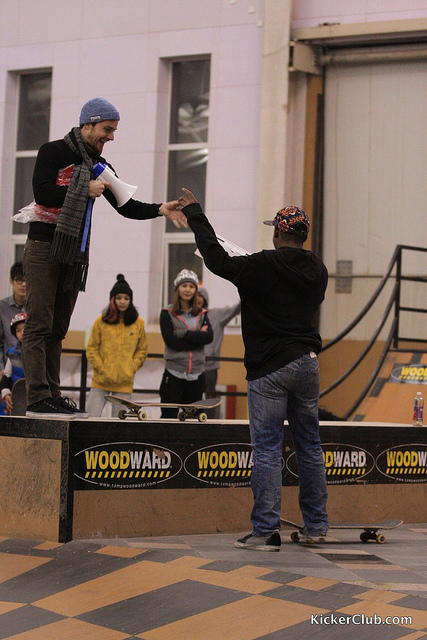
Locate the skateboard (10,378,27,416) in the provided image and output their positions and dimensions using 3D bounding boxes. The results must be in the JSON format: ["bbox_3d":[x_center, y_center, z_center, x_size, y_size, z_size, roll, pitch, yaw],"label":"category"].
[{"bbox_3d":[-1.206,0.482,7.081,0.091,0.203,0.255,-4,10,-10],"label":"skateboard"}]

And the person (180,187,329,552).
[{"bbox_3d":[0.286,0.340,6.006,0.708,1.790,0.599,-3,10,-5],"label":"person"}]

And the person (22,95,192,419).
[{"bbox_3d":[-0.869,-0.321,6.442,0.897,1.786,1.020,1,11,17],"label":"person"}]

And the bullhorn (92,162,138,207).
[{"bbox_3d":[-0.524,-0.775,6.379,0.277,0.192,0.156,35,-15,0],"label":"bullhorn"}]

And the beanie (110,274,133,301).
[{"bbox_3d":[-0.733,-0.270,9.076,0.149,0.168,0.212,0,-10,-2],"label":"beanie"}]

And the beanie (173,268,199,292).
[{"bbox_3d":[-0.216,-0.315,9.025,0.170,0.168,0.219,1,-1,0],"label":"beanie"}]

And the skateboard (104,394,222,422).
[{"bbox_3d":[-0.205,0.529,6.637,0.849,0.134,0.227,2,-1,-22],"label":"skateboard"}]

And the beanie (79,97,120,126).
[{"bbox_3d":[-0.623,-1.117,6.195,0.188,0.122,0.136,4,10,24],"label":"beanie"}]
